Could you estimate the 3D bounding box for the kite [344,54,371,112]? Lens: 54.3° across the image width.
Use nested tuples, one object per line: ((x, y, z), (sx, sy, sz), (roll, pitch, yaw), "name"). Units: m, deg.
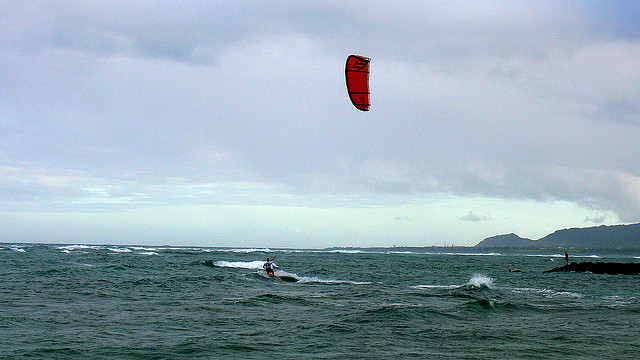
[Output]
((2.970, -7.524, 48.896), (1.678, 4.241, 0.944), (0, -3, -16), "kite")
